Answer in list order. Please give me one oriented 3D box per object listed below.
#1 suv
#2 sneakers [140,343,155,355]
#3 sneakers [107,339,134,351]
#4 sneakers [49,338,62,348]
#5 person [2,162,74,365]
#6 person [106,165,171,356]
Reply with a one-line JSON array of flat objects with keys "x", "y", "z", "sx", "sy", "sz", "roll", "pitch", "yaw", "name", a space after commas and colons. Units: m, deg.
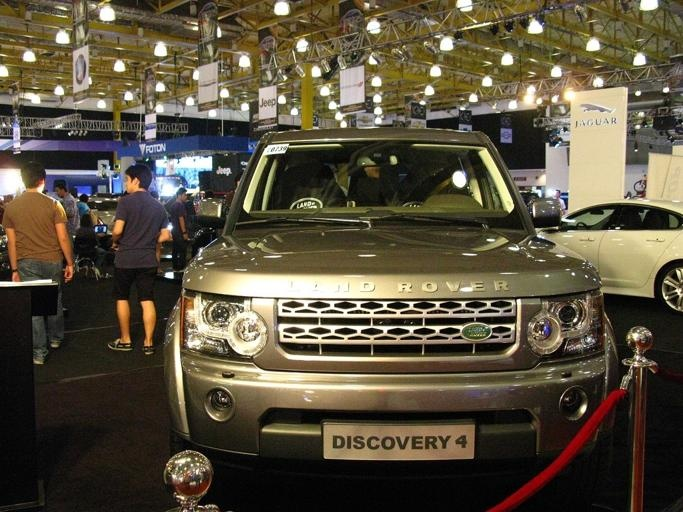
[{"x": 0.280, "y": -0.028, "z": 4.250, "sx": 2.230, "sy": 1.734, "sz": 3.837, "roll": -1, "pitch": 7, "yaw": 4, "name": "suv"}, {"x": -2.159, "y": 1.029, "z": 6.462, "sx": 0.121, "sy": 0.079, "sz": 0.295, "roll": 0, "pitch": -2, "yaw": -18, "name": "sneakers"}, {"x": -2.568, "y": 1.024, "z": 6.688, "sx": 0.331, "sy": 0.132, "sz": 0.128, "roll": 6, "pitch": 6, "yaw": 23, "name": "sneakers"}, {"x": -3.338, "y": 1.006, "z": 6.760, "sx": 0.089, "sy": 0.082, "sz": 0.136, "roll": 8, "pitch": -15, "yaw": -17, "name": "sneakers"}, {"x": -3.166, "y": 0.076, "z": 6.076, "sx": 0.626, "sy": 2.081, "sz": 1.049, "roll": -4, "pitch": 7, "yaw": -25, "name": "person"}, {"x": -2.267, "y": 0.004, "z": 6.480, "sx": 0.715, "sy": 2.026, "sz": 0.607, "roll": 2, "pitch": 0, "yaw": -19, "name": "person"}]
